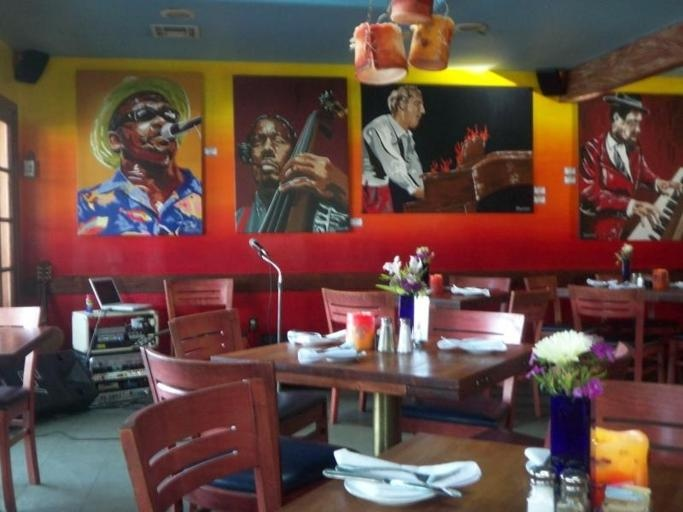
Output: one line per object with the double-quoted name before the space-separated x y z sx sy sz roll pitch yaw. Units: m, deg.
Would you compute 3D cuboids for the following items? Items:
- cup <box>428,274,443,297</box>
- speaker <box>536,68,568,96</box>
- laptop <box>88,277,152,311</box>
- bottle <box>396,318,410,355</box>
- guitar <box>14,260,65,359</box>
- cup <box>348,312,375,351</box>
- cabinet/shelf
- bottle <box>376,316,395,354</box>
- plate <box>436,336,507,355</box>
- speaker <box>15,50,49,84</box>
"cup" 0.806 0.243 5.629 0.189 0.233 0.197 0 -1 0
"speaker" 2.023 -1.675 6.342 0.258 0.267 0.219 -1 16 9
"laptop" -1.892 0.313 5.585 0.428 0.254 0.426 3 1 21
"bottle" 0.310 0.394 3.272 0.070 0.165 0.056 0 8 5
"guitar" -2.688 0.479 5.944 0.144 0.883 0.354 6 6 45
"cup" 0.105 0.376 3.419 0.166 0.194 0.174 -2 5 0
"cabinet/shelf" -1.927 0.801 5.518 0.422 0.703 0.681 0 -1 43
"bottle" 0.222 0.382 3.326 0.087 0.180 0.120 0 8 3
"plate" 0.651 0.445 3.331 0.334 0.053 0.216 0 8 6
"speaker" -2.781 -1.680 5.839 0.254 0.268 0.092 -1 15 -34
